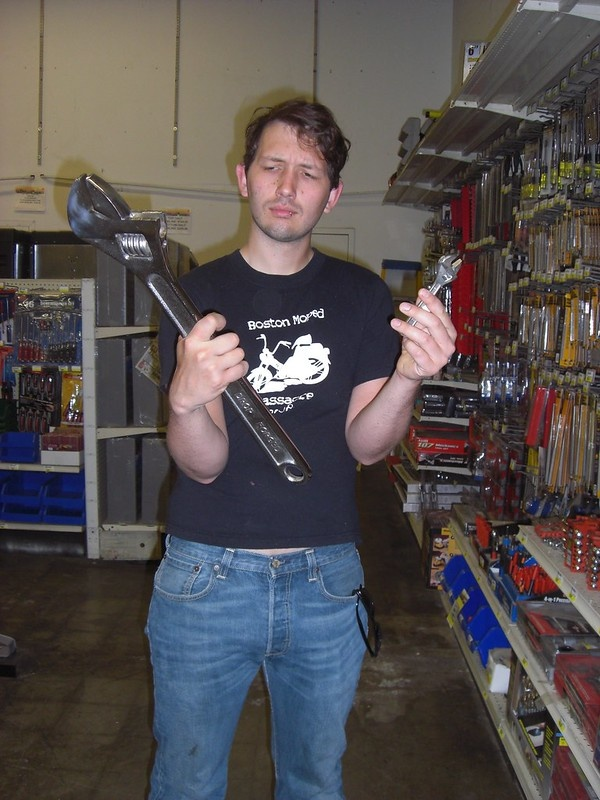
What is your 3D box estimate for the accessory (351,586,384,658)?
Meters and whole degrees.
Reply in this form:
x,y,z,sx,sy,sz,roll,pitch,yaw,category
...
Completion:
x,y,z,sx,sy,sz,roll,pitch,yaw,category
0.138,0.426,1.348,0.029,0.130,0.126,-15,53,-8,accessory
